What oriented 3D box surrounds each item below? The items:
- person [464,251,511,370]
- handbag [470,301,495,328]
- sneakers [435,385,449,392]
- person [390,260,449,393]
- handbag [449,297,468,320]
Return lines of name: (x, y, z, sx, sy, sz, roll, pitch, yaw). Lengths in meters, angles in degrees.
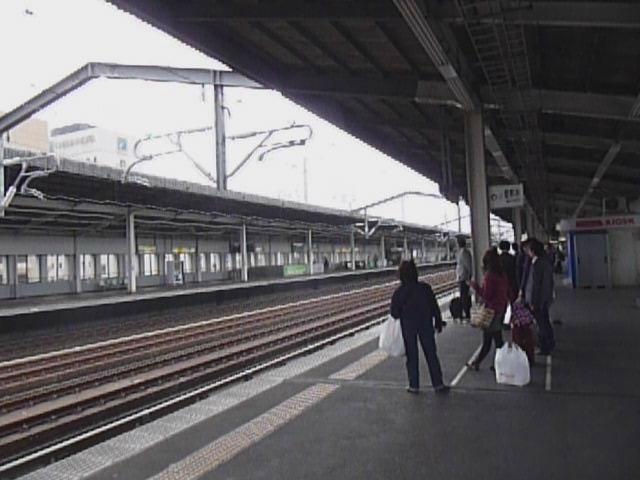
person: (2.751, 1.142, 8.616, 0.641, 2.013, 0.673, -3, -1, 17)
handbag: (2.608, 1.260, 8.680, 0.325, 0.392, 0.317, 14, -19, 21)
sneakers: (1.840, 2.216, 8.062, 0.256, 0.103, 0.074, -3, -1, -19)
person: (1.505, 1.289, 8.182, 0.683, 1.917, 0.743, -3, -1, 43)
handbag: (3.389, 1.670, 13.166, 0.445, 0.823, 0.400, 3, 9, 25)
